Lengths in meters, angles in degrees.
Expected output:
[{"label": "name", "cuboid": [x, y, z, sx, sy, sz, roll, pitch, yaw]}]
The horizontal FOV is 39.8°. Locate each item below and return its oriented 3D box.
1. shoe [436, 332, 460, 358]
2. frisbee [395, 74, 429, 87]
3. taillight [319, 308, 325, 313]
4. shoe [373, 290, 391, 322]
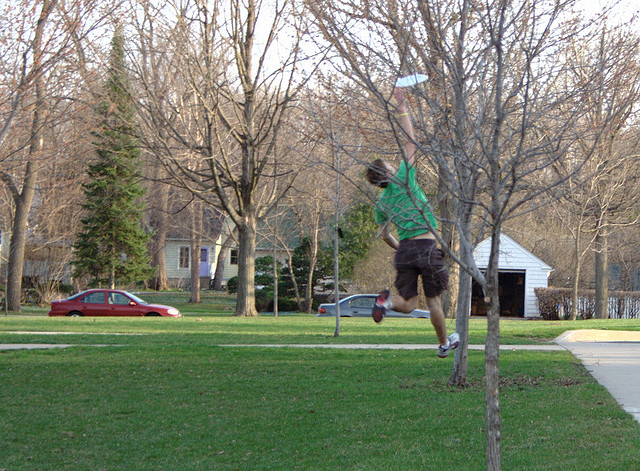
[{"label": "shoe", "cuboid": [2.116, 1.811, 14.632, 0.244, 0.334, 0.541, 2, 8, 22]}, {"label": "frisbee", "cuboid": [1.346, -2.302, 13.169, 0.640, 0.183, 0.305, -6, 9, -37]}, {"label": "taillight", "cuboid": [0.058, 2.756, 32.259, 0.155, 0.160, 0.158, 1, 3, -37]}, {"label": "shoe", "cuboid": [0.968, 1.103, 13.951, 0.191, 0.503, 0.223, 25, -1, 21]}]
